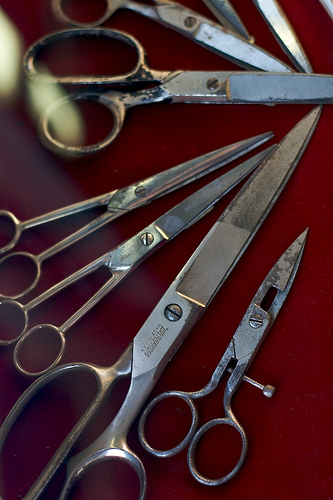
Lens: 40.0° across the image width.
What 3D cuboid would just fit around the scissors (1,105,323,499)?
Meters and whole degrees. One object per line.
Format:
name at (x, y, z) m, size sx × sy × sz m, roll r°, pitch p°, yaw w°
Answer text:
scissors at (0.036, 0.045, 0.573) m, size 0.156 × 0.056 × 0.535 m, roll 35°, pitch 70°, yaw 13°

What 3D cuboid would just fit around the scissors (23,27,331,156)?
scissors at (0.053, -0.202, 0.550) m, size 0.453 × 0.020 × 0.149 m, roll 1°, pitch 79°, yaw -3°

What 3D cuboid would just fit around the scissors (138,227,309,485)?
scissors at (0.079, 0.106, 0.474) m, size 0.100 × 0.028 × 0.269 m, roll 28°, pitch 70°, yaw 14°

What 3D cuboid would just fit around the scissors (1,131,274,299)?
scissors at (-0.036, -0.052, 0.529) m, size 0.331 × 0.012 × 0.109 m, roll -23°, pitch 75°, yaw -7°
